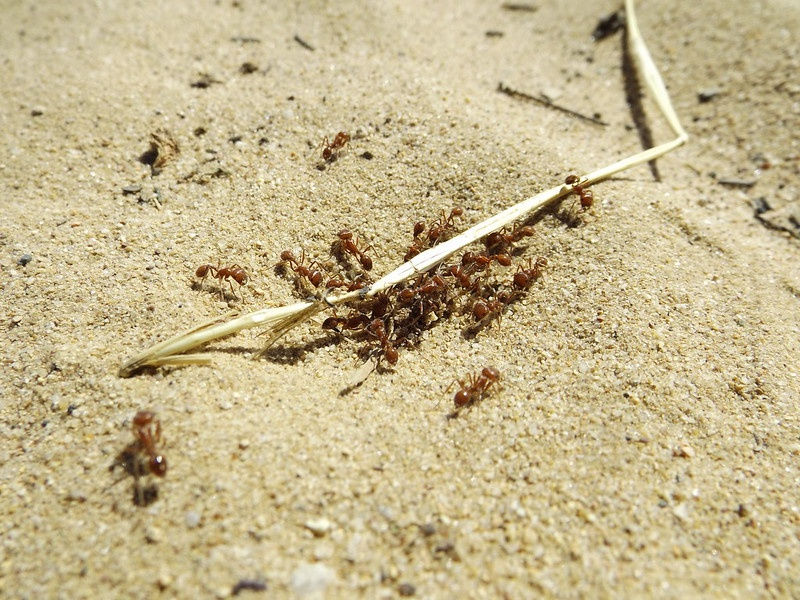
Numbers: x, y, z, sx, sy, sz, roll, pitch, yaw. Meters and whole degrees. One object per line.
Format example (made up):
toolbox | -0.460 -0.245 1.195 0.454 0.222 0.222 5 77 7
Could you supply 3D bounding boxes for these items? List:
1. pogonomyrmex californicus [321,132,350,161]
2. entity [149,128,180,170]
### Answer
pogonomyrmex californicus | -0.594 -1.424 7.413 0.222 0.091 0.281 41 88 7
entity | -2.182 -1.408 7.279 0.297 0.128 0.360 18 64 -2
